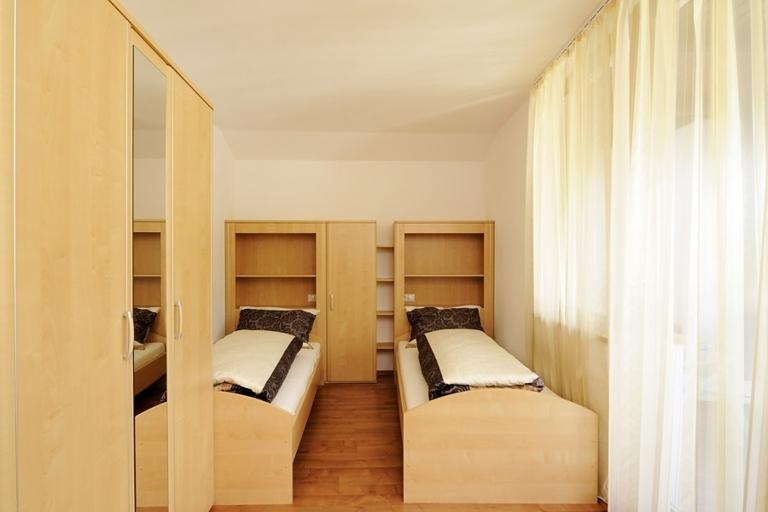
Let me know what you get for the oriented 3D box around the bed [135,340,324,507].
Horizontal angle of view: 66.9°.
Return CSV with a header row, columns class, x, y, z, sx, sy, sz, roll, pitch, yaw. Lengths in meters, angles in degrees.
class,x,y,z,sx,sy,sz,roll,pitch,yaw
bed,-0.929,1.019,3.432,0.956,0.577,1.566,0,-6,-1
